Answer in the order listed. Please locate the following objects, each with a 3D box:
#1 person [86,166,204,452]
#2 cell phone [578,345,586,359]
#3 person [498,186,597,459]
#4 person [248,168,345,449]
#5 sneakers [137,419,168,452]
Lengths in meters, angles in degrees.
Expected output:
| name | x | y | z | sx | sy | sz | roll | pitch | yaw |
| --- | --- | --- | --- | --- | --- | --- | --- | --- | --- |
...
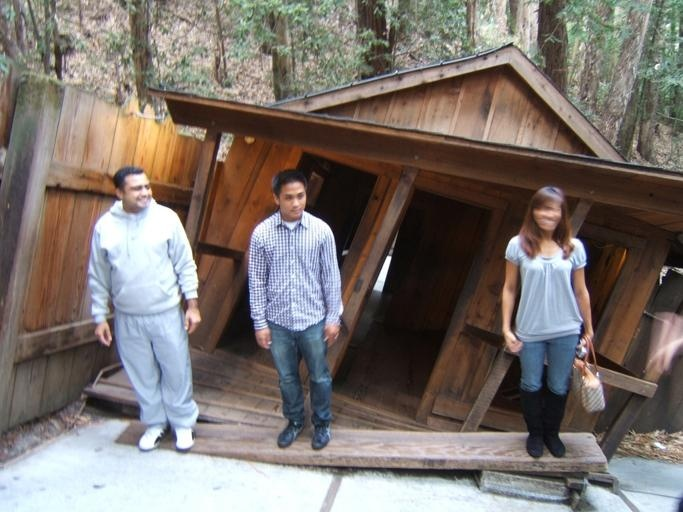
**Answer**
| name | x | y | z | sx | sy | sz | roll | pitch | yaw |
| --- | --- | --- | --- | --- | --- | --- | --- | --- | --- |
| person | -1.679 | 0.511 | 4.020 | 0.964 | 2.445 | 0.328 | 7 | 13 | -4 |
| cell phone | 2.052 | 0.817 | 3.957 | 0.057 | 0.090 | 0.061 | -7 | 50 | -10 |
| person | 1.739 | 0.604 | 3.999 | 0.837 | 2.298 | 0.383 | 13 | 14 | 21 |
| person | -0.402 | 0.523 | 4.055 | 0.914 | 2.458 | 0.300 | 8 | 13 | 1 |
| sneakers | -1.725 | 1.637 | 4.265 | 0.123 | 0.132 | 0.300 | 4 | 24 | 11 |
